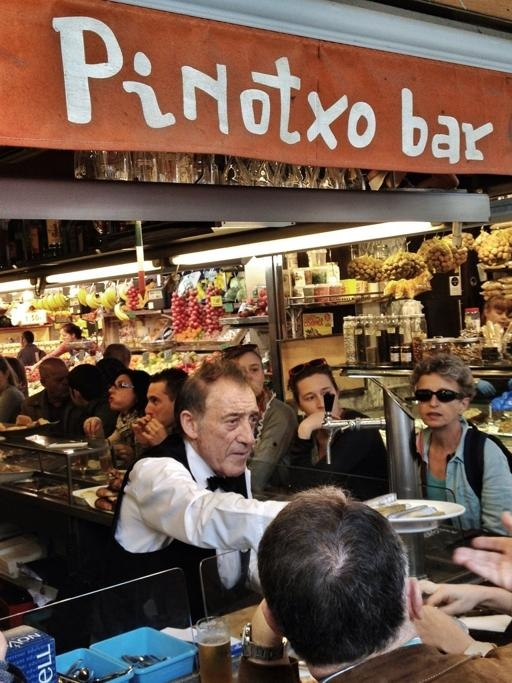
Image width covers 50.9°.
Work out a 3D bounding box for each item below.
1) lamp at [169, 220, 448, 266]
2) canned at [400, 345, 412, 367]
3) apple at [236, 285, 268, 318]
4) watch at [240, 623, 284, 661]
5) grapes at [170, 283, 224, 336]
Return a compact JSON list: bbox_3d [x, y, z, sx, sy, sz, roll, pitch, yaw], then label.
[{"bbox_3d":[0.213,-0.495,2.740,0.519,0.110,1.521,-8,4,-40],"label":"lamp"},{"bbox_3d":[1.124,0.105,4.039,0.088,0.149,0.048,-4,4,37],"label":"canned"},{"bbox_3d":[-0.033,-0.418,5.857,0.339,0.308,0.113,-5,-13,39],"label":"apple"},{"bbox_3d":[0.012,0.585,1.046,0.078,0.048,0.075,3,-5,0],"label":"watch"},{"bbox_3d":[-0.734,-0.365,6.837,0.558,0.354,0.725,1,-12,-11],"label":"grapes"}]
